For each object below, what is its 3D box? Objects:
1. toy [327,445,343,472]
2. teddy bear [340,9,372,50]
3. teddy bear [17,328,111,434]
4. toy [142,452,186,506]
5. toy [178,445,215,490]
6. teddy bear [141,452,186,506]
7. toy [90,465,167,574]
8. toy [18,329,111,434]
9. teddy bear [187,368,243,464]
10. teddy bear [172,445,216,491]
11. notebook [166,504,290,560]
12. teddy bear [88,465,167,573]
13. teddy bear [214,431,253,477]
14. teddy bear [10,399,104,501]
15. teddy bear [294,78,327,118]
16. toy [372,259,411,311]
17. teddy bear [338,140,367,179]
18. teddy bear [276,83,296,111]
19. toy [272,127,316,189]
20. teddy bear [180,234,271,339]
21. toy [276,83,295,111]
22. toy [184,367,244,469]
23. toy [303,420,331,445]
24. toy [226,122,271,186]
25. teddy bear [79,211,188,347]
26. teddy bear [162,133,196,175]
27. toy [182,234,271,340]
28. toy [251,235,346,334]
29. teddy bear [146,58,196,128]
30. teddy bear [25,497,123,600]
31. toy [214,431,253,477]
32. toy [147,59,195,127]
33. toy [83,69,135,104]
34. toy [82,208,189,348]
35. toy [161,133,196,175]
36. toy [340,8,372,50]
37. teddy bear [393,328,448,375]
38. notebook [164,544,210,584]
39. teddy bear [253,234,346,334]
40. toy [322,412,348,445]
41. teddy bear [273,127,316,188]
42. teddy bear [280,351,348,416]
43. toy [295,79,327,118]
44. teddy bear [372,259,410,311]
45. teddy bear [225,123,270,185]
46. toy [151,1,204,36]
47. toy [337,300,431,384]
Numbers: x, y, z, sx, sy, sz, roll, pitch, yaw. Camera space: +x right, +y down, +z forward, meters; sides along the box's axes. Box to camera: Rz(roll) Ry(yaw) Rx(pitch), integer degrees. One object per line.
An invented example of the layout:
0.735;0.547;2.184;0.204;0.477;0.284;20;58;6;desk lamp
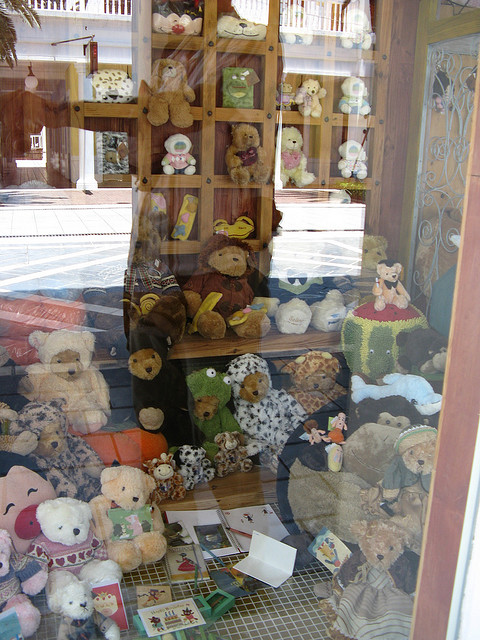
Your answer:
0.343;0.498;1.711;0.058;0.081;0.025;13;1;38;toy
0.462;-1.141;1.879;0.119;0.140;0.051;-3;17;-9;teddy bear
-0.661;0.225;1.773;0.349;0.382;0.222;-5;23;-20;teddy bear
-0.332;0.685;2.046;0.165;0.204;0.123;-8;-5;-20;toy
-0.210;0.661;2.181;0.178;0.205;0.099;-9;8;-20;toy
-0.299;0.692;2.068;0.188;0.230;0.146;0;-8;42;teddy bear
-0.411;0.724;1.785;0.299;0.332;0.263;-1;-9;38;toy
-0.658;0.227;1.765;0.341;0.388;0.245;-7;23;-26;toy
-0.125;0.453;2.230;0.307;0.449;0.210;4;12;14;teddy bear
-0.222;0.663;2.180;0.203;0.204;0.105;-10;5;-29;teddy bear
-0.061;0.815;1.889;0.440;0.083;0.318;-4;17;-11;notebook
-0.416;0.723;1.769;0.291;0.333;0.274;6;-6;-3;teddy bear
-0.039;0.635;2.231;0.196;0.211;0.126;-6;9;-28;teddy bear
-0.641;0.470;1.703;0.246;0.345;0.199;4;17;16;teddy bear
0.274;-0.887;1.879;0.126;0.134;0.084;-10;51;-24;teddy bear
0.581;-0.124;1.831;0.141;0.165;0.124;2;-23;-13;toy
0.485;-0.695;2.068;0.136;0.170;0.121;1;10;-10;teddy bear
0.176;-0.869;1.846;0.093;0.087;0.085;2;13;0;teddy bear
0.226;-0.671;1.955;0.187;0.220;0.191;5;37;-2;toy
-0.071;-0.151;2.068;0.340;0.402;0.259;-11;31;-37;teddy bear
0.173;-0.868;1.847;0.092;0.084;0.083;4;37;3;toy
-0.122;0.460;2.226;0.314;0.461;0.202;4;9;11;toy
0.292;0.447;1.899;0.053;0.027;0.081;-28;43;17;toy
0.024;-0.661;1.892;0.177;0.220;0.141;-14;37;-28;toy
-0.405;-0.160;1.749;0.415;0.548;0.339;-5;36;-29;teddy bear
-0.229;-0.630;1.821;0.134;0.146;0.105;4;16;6;teddy bear
-0.065;-0.148;2.072;0.354;0.389;0.249;-10;30;-37;toy
0.263;-0.137;2.114;0.419;0.373;0.221;2;27;4;toy
-0.256;-0.825;1.714;0.187;0.215;0.137;-6;35;-20;teddy bear
-0.550;0.762;1.548;0.216;0.318;0.303;-15;-12;43;teddy bear
-0.040;0.634;2.231;0.201;0.219;0.130;-5;7;-28;toy
-0.253;-0.827;1.718;0.189;0.207;0.130;-10;43;-23;toy
-0.415;-0.743;1.514;0.051;0.106;0.218;6;18;21;toy
-0.394;-0.148;1.812;0.386;0.524;0.306;2;22;11;toy
-0.236;-0.628;1.791;0.044;0.150;0.149;15;22;42;toy
0.449;-1.149;1.864;0.125;0.149;0.098;-9;25;-18;toy
0.540;0.087;1.404;0.074;0.131;0.169;10;-6;-33;teddy bear
-0.193;0.872;1.703;0.132;0.021;0.222;5;5;-14;notebook
0.256;-0.131;2.110;0.430;0.411;0.231;3;4;2;teddy bear
0.360;0.412;1.788;0.085;0.103;0.047;24;-17;-2;toy
0.215;-0.675;1.957;0.187;0.220;0.184;-1;39;-7;teddy bear
0.334;0.257;2.125;0.316;0.247;0.215;-17;17;0;teddy bear
0.276;-0.885;1.881;0.121;0.133;0.082;-12;53;-25;toy
0.575;-0.138;1.831;0.134;0.176;0.153;-2;16;-8;teddy bear
0.019;-0.662;1.886;0.169;0.216;0.156;-23;42;-35;teddy bear
-0.220;-1.059;1.660;0.058;0.124;0.227;12;21;36;toy
0.567;0.062;2.000;0.337;0.292;0.320;0;17;-5;toy
